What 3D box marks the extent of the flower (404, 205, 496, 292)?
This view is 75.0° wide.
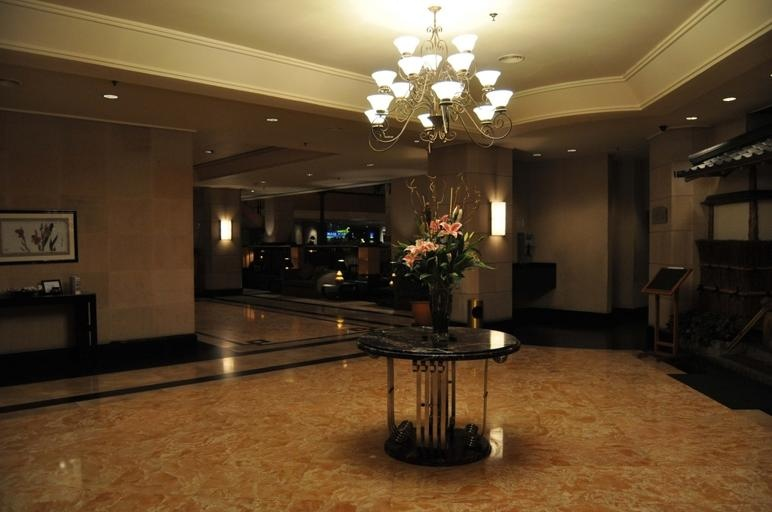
[{"bbox_3d":[0.624,-0.050,5.604,0.856,0.918,0.981,2,0,-33],"label":"flower"}]

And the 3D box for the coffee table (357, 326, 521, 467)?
[{"bbox_3d":[0.550,1.566,5.601,1.636,1.108,1.637,-3,-5,11],"label":"coffee table"}]

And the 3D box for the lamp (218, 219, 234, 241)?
[{"bbox_3d":[-5.332,-0.900,16.824,0.477,0.735,0.235,-4,9,-25],"label":"lamp"}]

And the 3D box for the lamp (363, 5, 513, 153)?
[{"bbox_3d":[0.616,-2.231,6.891,1.843,1.792,2.144,3,2,33],"label":"lamp"}]
